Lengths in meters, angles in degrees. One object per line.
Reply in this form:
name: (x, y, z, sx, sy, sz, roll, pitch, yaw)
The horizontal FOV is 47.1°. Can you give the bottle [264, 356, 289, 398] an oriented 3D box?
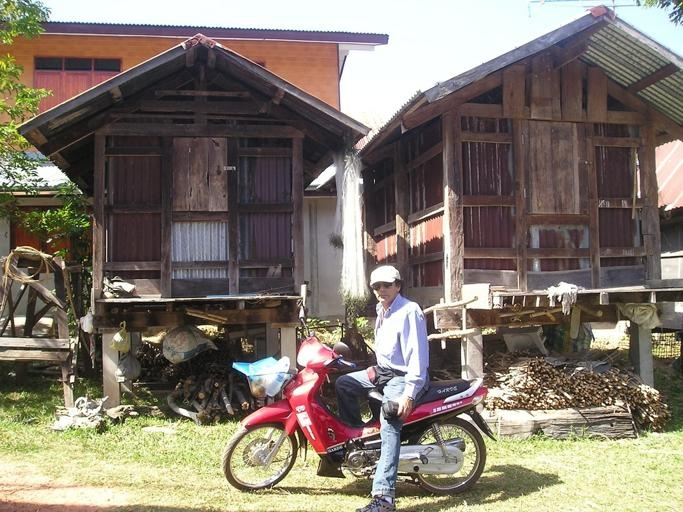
bottle: (-0.887, 1.733, 11.122, 0.135, 0.560, 0.319, 34, -2, -36)
